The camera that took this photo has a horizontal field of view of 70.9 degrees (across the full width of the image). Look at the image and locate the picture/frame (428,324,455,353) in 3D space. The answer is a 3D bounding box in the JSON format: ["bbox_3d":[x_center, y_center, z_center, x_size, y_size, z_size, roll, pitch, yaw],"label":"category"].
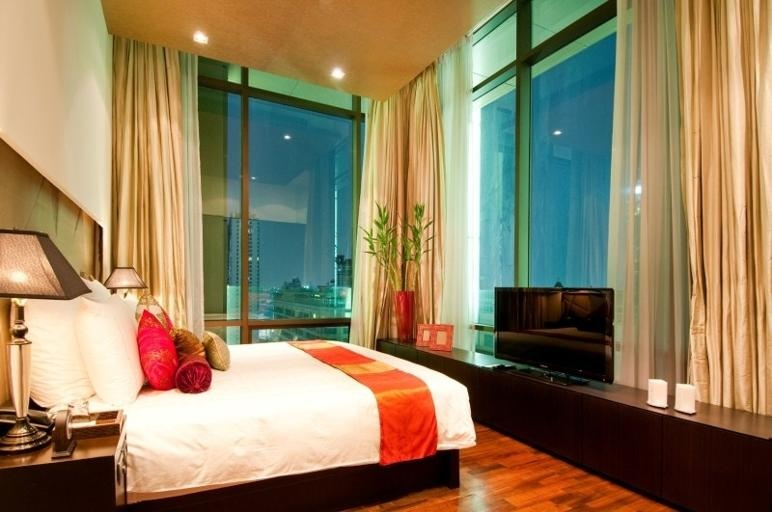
[{"bbox_3d":[0.573,0.872,5.709,0.241,0.275,0.020,-8,-18,32],"label":"picture/frame"}]

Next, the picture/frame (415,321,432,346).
[{"bbox_3d":[0.410,0.854,5.914,0.208,0.239,0.025,-7,-13,45],"label":"picture/frame"}]

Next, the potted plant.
[{"bbox_3d":[0.137,0.150,6.559,0.643,1.712,0.877,0,-4,-22],"label":"potted plant"}]
